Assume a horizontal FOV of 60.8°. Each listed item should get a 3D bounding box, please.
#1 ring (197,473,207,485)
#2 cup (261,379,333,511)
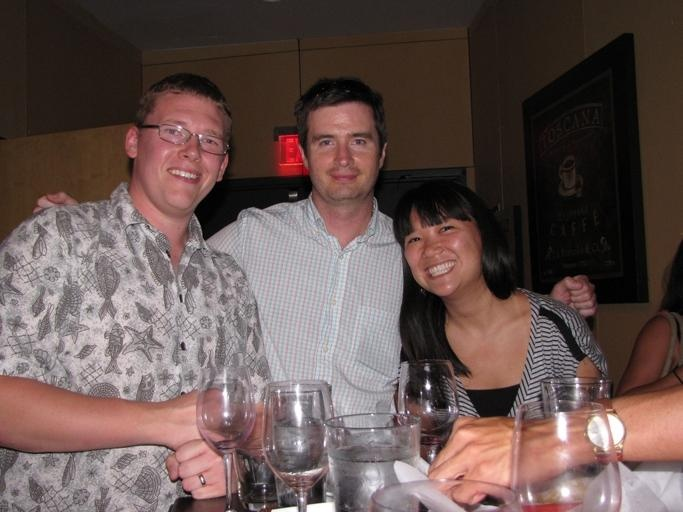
[{"bbox_3d":[-0.436,0.700,1.825,0.024,0.026,0.026,-11,-38,-9],"label":"ring"},{"bbox_3d":[-0.110,0.483,1.492,0.177,0.321,0.111,-4,0,-10],"label":"cup"}]
